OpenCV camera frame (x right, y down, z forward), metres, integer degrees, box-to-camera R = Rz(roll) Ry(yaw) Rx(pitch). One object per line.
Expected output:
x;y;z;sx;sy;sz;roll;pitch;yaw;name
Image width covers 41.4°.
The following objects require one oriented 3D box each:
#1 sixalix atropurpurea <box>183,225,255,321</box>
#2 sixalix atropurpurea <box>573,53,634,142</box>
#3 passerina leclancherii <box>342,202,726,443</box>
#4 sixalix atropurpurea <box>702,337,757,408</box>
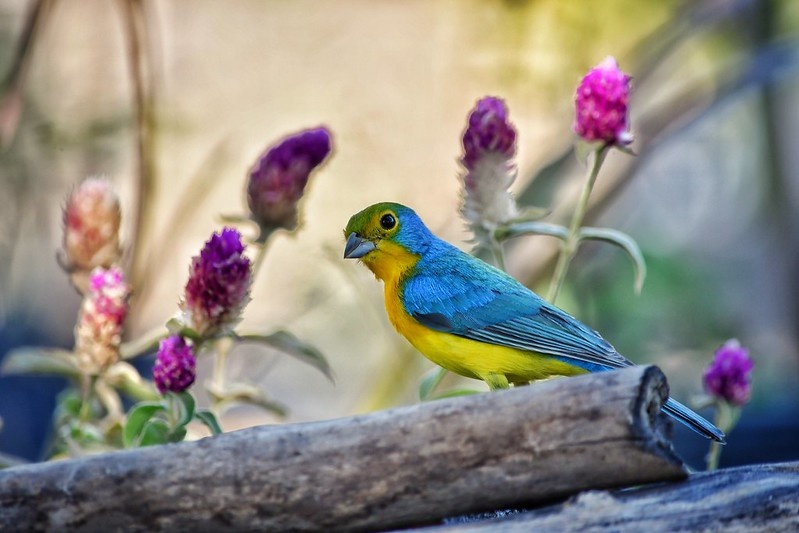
-0.700;0.016;4.111;0.218;0.386;0.212;-8;10;-43;sixalix atropurpurea
0.807;-0.669;4.206;0.200;0.241;0.351;-2;-67;-12;sixalix atropurpurea
0.659;0.106;4.548;2.028;1.297;0.700;-1;15;24;passerina leclancherii
1.430;0.434;4.581;0.192;0.168;0.295;3;-64;22;sixalix atropurpurea
